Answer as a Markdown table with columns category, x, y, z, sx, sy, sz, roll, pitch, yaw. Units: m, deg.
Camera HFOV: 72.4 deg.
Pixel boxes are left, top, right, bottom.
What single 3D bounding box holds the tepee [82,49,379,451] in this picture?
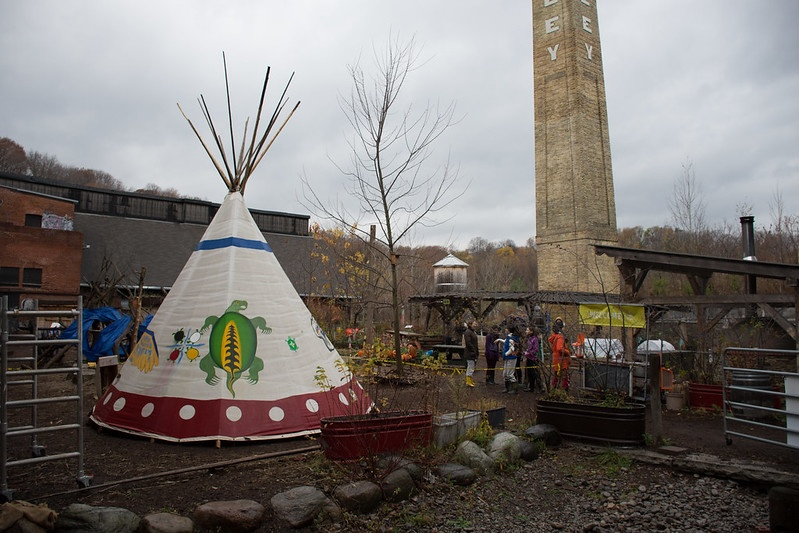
| category | x | y | z | sx | sy | sz | roll | pitch | yaw |
| --- | --- | --- | --- | --- | --- | --- | --- | --- | --- |
| tepee | -3.394 | 1.027 | 11.207 | 4.481 | 4.761 | 1.936 | -2 | -5 | 4 |

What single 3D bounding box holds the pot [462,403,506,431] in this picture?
| category | x | y | z | sx | sy | sz | roll | pitch | yaw |
| --- | --- | --- | --- | --- | --- | --- | --- | --- | --- |
| pot | 1.956 | 3.310 | 12.081 | 0.597 | 0.336 | 0.876 | 2 | -10 | -22 |

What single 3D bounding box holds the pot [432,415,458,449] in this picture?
| category | x | y | z | sx | sy | sz | roll | pitch | yaw |
| --- | --- | --- | --- | --- | --- | --- | --- | --- | --- |
| pot | 0.858 | 3.250 | 10.678 | 0.639 | 0.551 | 0.348 | 3 | -7 | -38 |

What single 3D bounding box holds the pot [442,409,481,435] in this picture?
| category | x | y | z | sx | sy | sz | roll | pitch | yaw |
| --- | --- | --- | --- | --- | --- | --- | --- | --- | --- |
| pot | 1.315 | 3.124 | 11.048 | 0.682 | 0.239 | 0.387 | 16 | -18 | -40 |

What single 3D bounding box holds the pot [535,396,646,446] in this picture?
| category | x | y | z | sx | sy | sz | roll | pitch | yaw |
| --- | --- | --- | --- | --- | --- | --- | --- | --- | --- |
| pot | 4.184 | 3.621 | 11.575 | 2.103 | 0.690 | 0.818 | 1 | 2 | 24 |

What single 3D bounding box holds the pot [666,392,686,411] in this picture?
| category | x | y | z | sx | sy | sz | roll | pitch | yaw |
| --- | --- | --- | --- | --- | --- | --- | --- | --- | --- |
| pot | 7.290 | 3.568 | 14.452 | 0.428 | 0.321 | 0.424 | 2 | -5 | 0 |

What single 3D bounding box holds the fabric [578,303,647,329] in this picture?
| category | x | y | z | sx | sy | sz | roll | pitch | yaw |
| --- | --- | --- | --- | --- | --- | --- | --- | --- | --- |
| fabric | 5.143 | 1.175 | 13.252 | 1.450 | 0.579 | 1.142 | -4 | -6 | 20 |

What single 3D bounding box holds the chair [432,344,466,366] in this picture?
| category | x | y | z | sx | sy | sz | roll | pitch | yaw |
| --- | --- | --- | --- | --- | --- | --- | --- | --- | --- |
| chair | 2.111 | 3.719 | 23.106 | 1.225 | 0.813 | 2.369 | -2 | -6 | 6 |
